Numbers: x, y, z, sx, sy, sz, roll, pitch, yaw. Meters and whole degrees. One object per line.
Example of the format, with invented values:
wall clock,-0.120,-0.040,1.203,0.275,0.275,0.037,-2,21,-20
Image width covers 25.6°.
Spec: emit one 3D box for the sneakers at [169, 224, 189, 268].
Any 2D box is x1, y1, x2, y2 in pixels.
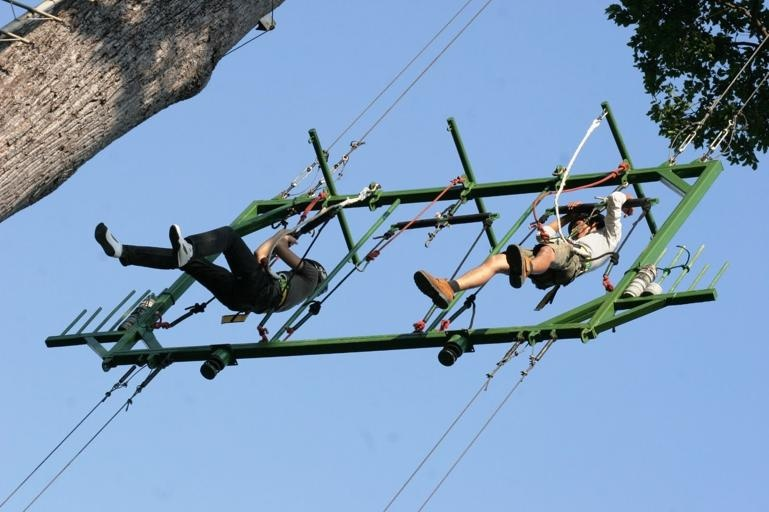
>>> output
sneakers,-2.547,-0.096,20.949,0.189,0.259,0.615,-6,-90,16
